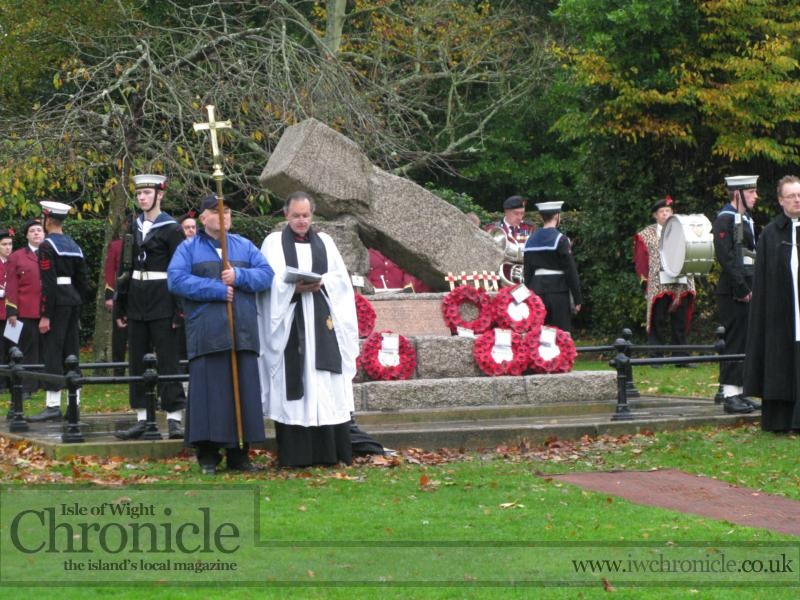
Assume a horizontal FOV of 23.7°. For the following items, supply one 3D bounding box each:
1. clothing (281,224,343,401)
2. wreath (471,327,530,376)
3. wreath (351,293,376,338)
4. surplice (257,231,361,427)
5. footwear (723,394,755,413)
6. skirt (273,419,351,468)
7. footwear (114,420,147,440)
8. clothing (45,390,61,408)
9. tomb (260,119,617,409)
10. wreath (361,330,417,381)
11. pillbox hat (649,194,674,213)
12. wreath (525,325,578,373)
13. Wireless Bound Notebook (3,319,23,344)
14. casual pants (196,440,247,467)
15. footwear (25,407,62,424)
[{"bbox_3d":[-1.179,0.077,25.827,0.791,2.118,0.391,-4,4,7],"label":"clothing"},{"bbox_3d":[1.497,0.795,28.672,0.756,0.714,0.233,-5,-16,-13],"label":"wreath"},{"bbox_3d":[-0.527,0.213,28.544,0.461,0.541,0.171,10,-24,-44],"label":"wreath"},{"bbox_3d":[-1.282,0.290,25.869,1.512,2.659,0.850,-1,-4,-21],"label":"surplice"},{"bbox_3d":[4.875,1.519,27.728,0.541,0.206,0.192,-1,-1,-2],"label":"footwear"},{"bbox_3d":[-1.211,1.965,25.831,0.954,0.570,0.491,1,-8,-28],"label":"skirt"},{"bbox_3d":[-3.605,1.807,26.367,0.601,0.318,0.199,4,-1,3],"label":"footwear"},{"bbox_3d":[-5.088,1.448,27.994,0.282,0.328,0.233,1,-2,-25],"label":"clothing"},{"bbox_3d":[0.720,-0.431,29.986,5.470,3.460,4.432,-1,-1,-29],"label":"tomb"},{"bbox_3d":[-0.183,0.832,28.348,0.826,0.715,0.301,0,-4,-2],"label":"wreath"},{"bbox_3d":[4.459,-1.677,33.079,0.461,0.177,0.484,-14,7,-25],"label":"pillbox hat"},{"bbox_3d":[2.128,0.755,29.202,1.062,0.341,0.982,17,6,-7],"label":"wreath"},{"bbox_3d":[-5.955,0.471,29.512,0.381,0.432,0.049,13,-21,-17],"label":"Wireless Bound Notebook"},{"bbox_3d":[-2.381,2.074,25.428,0.566,0.207,0.392,9,-11,-26],"label":"casual pants"},{"bbox_3d":[-5.150,1.676,27.830,0.586,0.209,0.182,1,-1,-15],"label":"footwear"}]
